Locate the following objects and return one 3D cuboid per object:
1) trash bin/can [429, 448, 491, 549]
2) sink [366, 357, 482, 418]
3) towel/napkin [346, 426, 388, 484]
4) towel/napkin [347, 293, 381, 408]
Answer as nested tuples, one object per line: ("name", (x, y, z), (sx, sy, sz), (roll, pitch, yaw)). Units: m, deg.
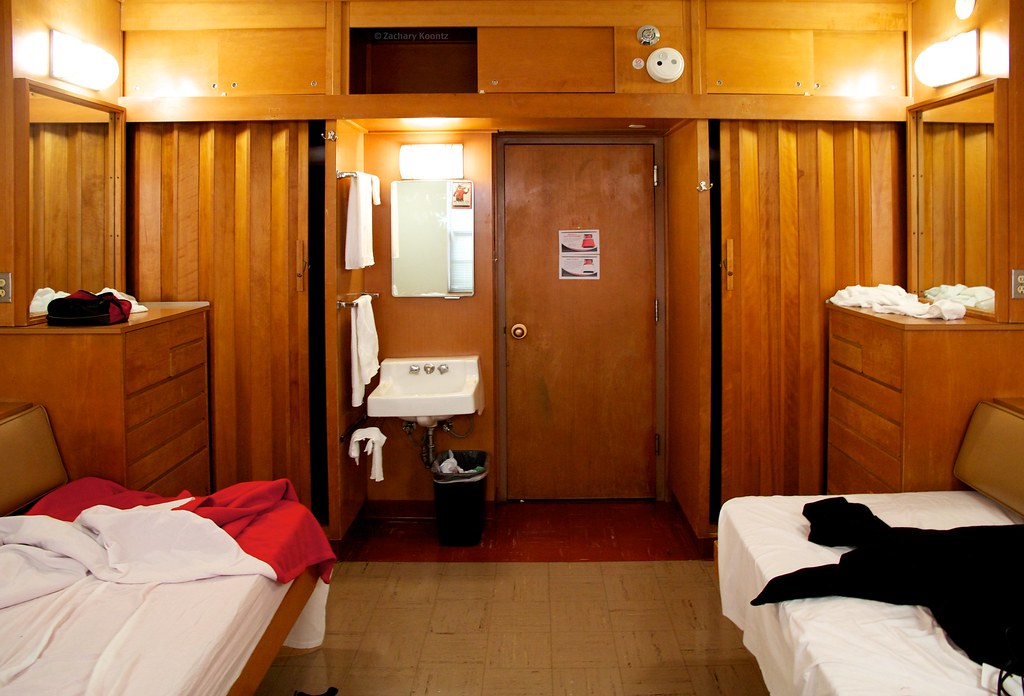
("trash bin/can", (-0.340, 0.988, 5.367), (0.367, 0.532, 0.394), (-1, 13, -3))
("sink", (-0.562, 0.340, 5.405), (0.729, 0.424, 0.591), (-1, 13, -3))
("towel/napkin", (-0.931, 0.715, 5.254), (0.163, 0.279, 0.194), (-21, -5, -10))
("towel/napkin", (-0.986, 0.020, 5.248), (0.159, 0.686, 0.336), (5, 14, 22))
